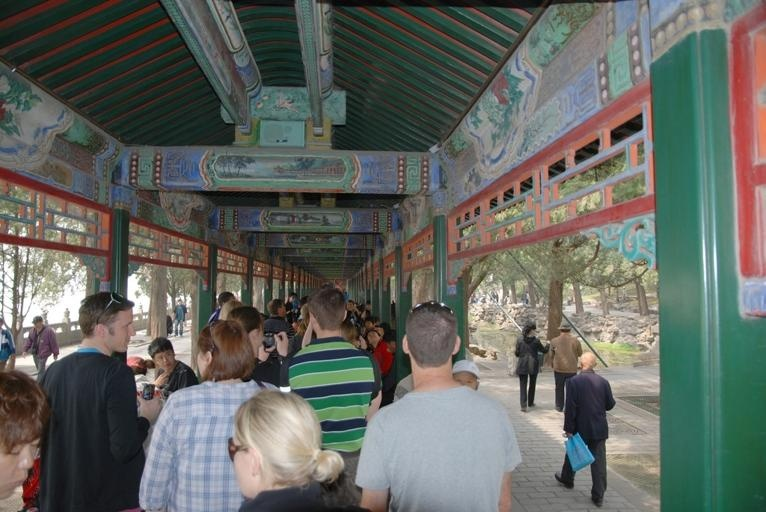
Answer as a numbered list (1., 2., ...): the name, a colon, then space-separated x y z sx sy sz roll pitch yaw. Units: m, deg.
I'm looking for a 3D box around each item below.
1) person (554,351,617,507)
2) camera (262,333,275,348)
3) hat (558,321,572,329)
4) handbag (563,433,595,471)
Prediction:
1. person: 2.486 2.055 6.483 0.562 1.683 0.728 -1 -1 22
2. camera: -1.216 0.905 5.695 0.186 0.171 0.045 7 -36 -20
3. hat: 3.268 1.280 9.634 0.234 0.104 0.311 0 -10 6
4. handbag: 2.235 2.227 6.002 0.200 0.292 0.389 31 35 3
